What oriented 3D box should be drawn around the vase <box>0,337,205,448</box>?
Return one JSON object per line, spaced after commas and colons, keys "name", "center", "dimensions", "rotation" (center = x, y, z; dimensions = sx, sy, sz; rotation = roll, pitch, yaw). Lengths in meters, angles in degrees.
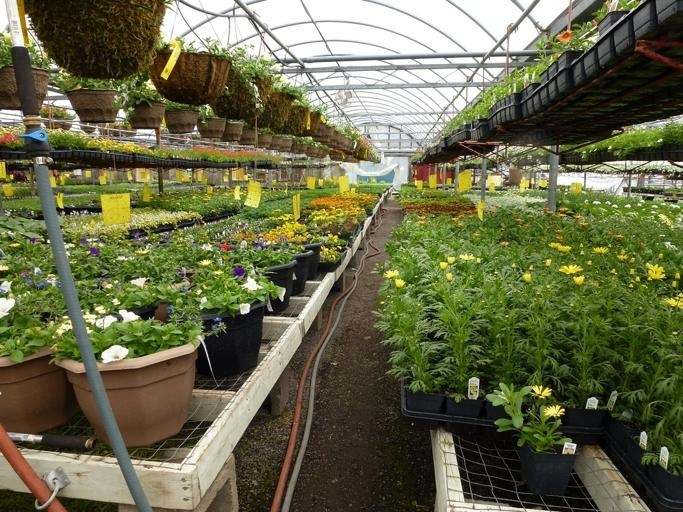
{"name": "vase", "center": [-1.057, 0.582, 1.928], "dimensions": [0.646, 0.389, 0.649], "rotation": [-20, -9, 38]}
